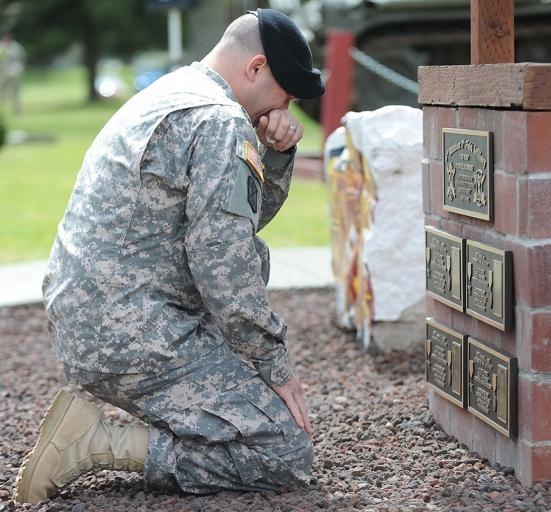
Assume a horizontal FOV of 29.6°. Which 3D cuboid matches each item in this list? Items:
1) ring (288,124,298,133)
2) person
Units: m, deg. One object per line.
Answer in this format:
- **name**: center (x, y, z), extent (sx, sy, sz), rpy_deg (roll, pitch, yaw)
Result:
- **ring**: center (0.057, -0.431, 3.520), extent (0.024, 0.025, 0.011), rpy_deg (-1, -12, -8)
- **person**: center (-0.259, -0.207, 4.112), extent (1.566, 1.970, 1.148), rpy_deg (-3, 17, -23)
